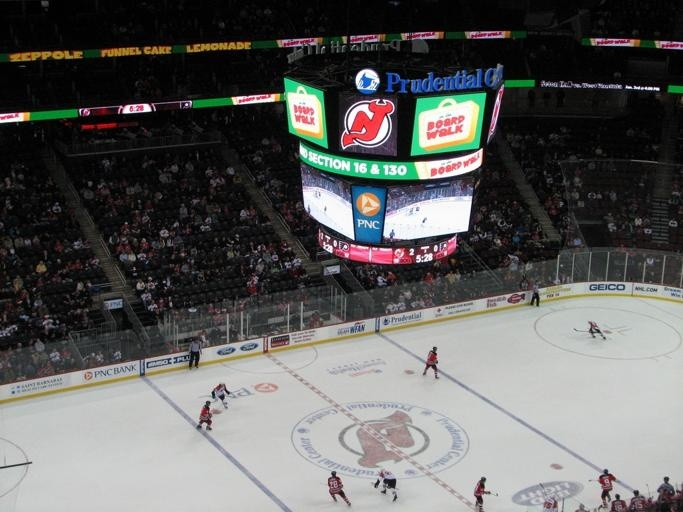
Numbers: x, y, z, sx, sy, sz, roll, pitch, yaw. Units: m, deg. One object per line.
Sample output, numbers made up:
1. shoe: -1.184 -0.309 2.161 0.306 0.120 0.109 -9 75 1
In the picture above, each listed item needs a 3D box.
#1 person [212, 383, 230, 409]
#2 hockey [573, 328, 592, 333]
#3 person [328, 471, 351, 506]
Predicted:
1. person: -5.720 6.389 36.584 0.781 1.198 1.214 -11 23 -11
2. hockey: 13.592 4.215 44.260 0.852 0.093 0.457 -4 22 4
3. person: -0.128 8.955 30.385 0.782 1.480 0.757 -8 22 -5
